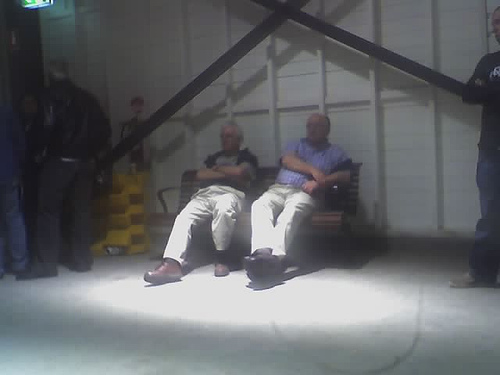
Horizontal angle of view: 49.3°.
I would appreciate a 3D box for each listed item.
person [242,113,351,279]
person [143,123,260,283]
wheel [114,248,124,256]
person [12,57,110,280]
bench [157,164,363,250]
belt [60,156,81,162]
[{"bbox_3d":[0.194,-0.054,4.454,0.631,0.898,1.666,18,27,20],"label":"person"},{"bbox_3d":[-0.305,0.070,4.484,0.542,1.388,1.166,4,-6,9],"label":"person"},{"bbox_3d":[-1.270,0.621,5.296,0.125,0.083,0.055,1,-8,-22],"label":"wheel"},{"bbox_3d":[-1.538,-0.201,4.662,0.650,1.741,0.536,0,9,-20],"label":"person"},{"bbox_3d":[0.103,0.026,5.008,1.817,0.706,0.660,1,-3,2],"label":"bench"},{"bbox_3d":[-1.463,-0.234,4.441,0.173,0.052,0.016,9,-7,-39],"label":"belt"}]
